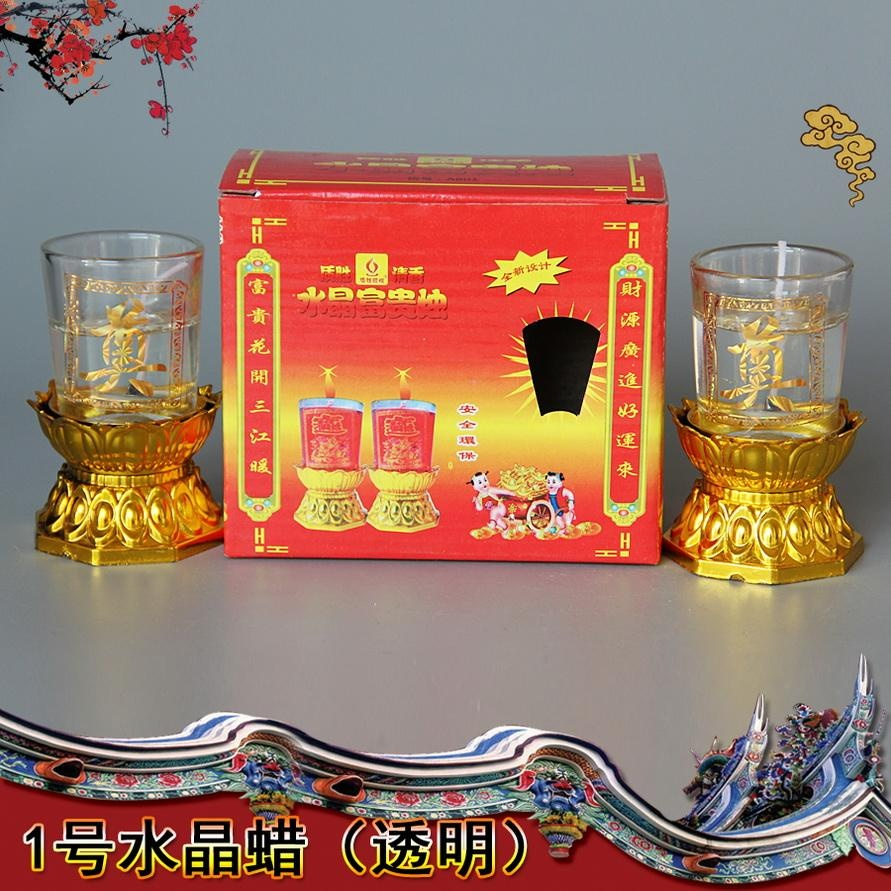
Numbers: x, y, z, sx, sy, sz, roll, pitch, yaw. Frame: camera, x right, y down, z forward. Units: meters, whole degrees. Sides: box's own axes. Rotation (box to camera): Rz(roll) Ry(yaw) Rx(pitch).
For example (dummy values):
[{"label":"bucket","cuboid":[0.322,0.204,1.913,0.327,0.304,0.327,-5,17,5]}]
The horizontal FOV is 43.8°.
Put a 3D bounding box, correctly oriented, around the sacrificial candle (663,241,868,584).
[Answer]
[{"label":"sacrificial candle","cuboid":[0.389,-0.042,1.360,0.235,0.412,0.190,1,10,19]}]
